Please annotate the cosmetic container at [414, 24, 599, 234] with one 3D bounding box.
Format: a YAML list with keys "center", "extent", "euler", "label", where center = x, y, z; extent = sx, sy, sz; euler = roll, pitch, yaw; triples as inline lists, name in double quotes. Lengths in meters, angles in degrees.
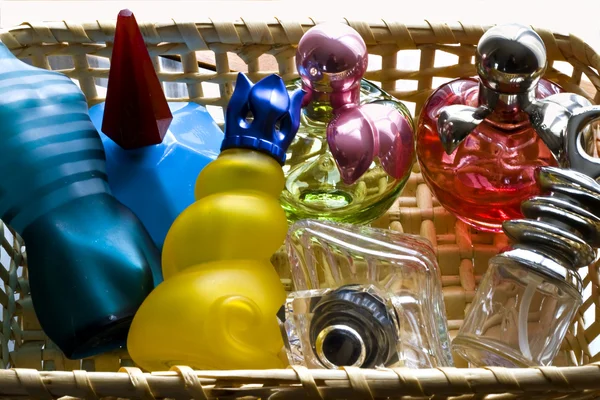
- center: [0.188, -0.057, 0.670]
  extent: [0.170, 0.203, 0.160]
  euler: [11, 39, 12]
  label: "cosmetic container"

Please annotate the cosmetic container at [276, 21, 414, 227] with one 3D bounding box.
- center: [0.038, -0.066, 0.672]
  extent: [0.143, 0.170, 0.135]
  euler: [1, 23, 15]
  label: "cosmetic container"

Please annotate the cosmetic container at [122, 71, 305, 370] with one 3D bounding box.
- center: [-0.067, 0.014, 0.582]
  extent: [0.116, 0.238, 0.113]
  euler: [1, 4, 12]
  label: "cosmetic container"

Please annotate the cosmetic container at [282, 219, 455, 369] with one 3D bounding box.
- center: [0.065, 0.070, 0.616]
  extent: [0.125, 0.124, 0.123]
  euler: [-4, 10, 10]
  label: "cosmetic container"
